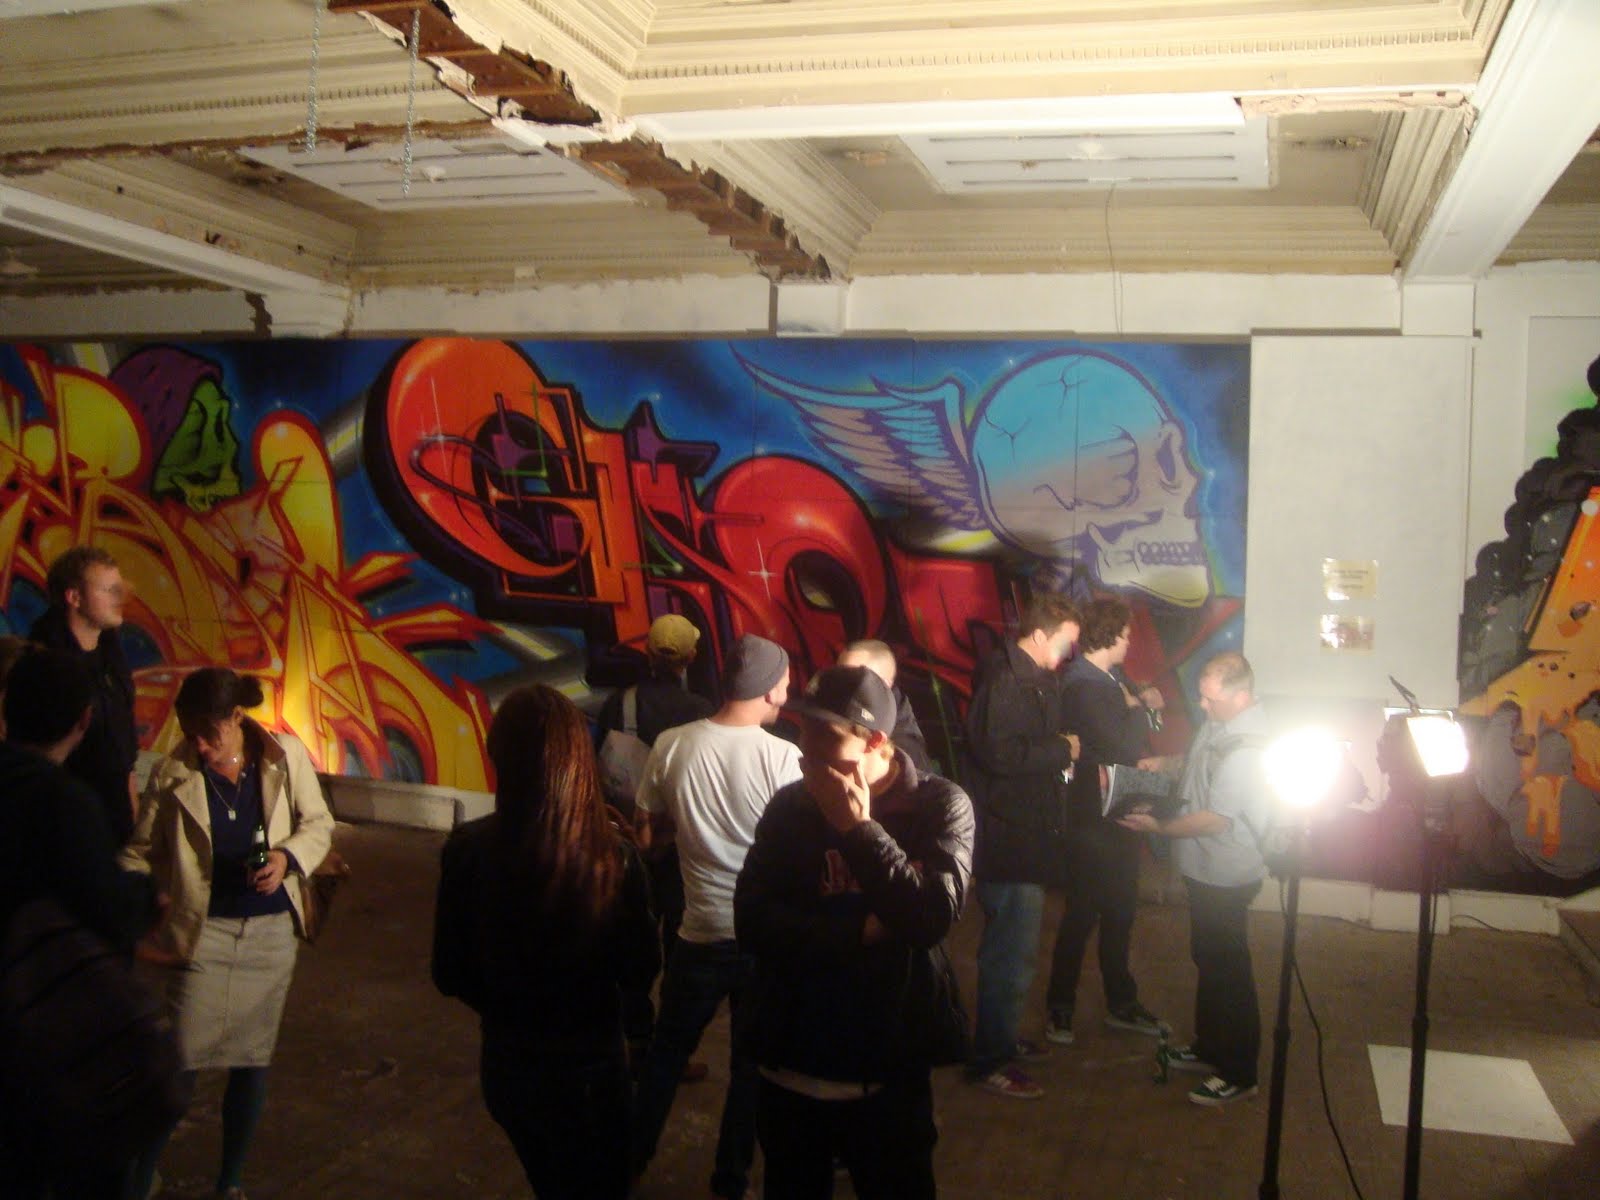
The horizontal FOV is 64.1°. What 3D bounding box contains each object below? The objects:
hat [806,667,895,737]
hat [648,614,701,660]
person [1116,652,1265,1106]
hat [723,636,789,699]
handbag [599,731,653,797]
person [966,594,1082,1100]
[{"bbox_3d":[0.191,0.336,4.363,0.280,0.170,0.203,18,6,8],"label":"hat"},{"bbox_3d":[-0.595,0.150,6.254,0.171,0.136,0.258,5,27,6],"label":"hat"},{"bbox_3d":[2.079,1.380,6.468,0.547,2.169,0.582,4,0,-41],"label":"person"},{"bbox_3d":[-0.178,0.276,5.405,0.200,0.199,0.281,8,33,23],"label":"hat"},{"bbox_3d":[-0.807,0.769,5.874,0.206,0.275,0.145,6,-32,-6],"label":"handbag"},{"bbox_3d":[1.113,1.218,6.528,0.488,2.459,0.579,4,0,22],"label":"person"}]
